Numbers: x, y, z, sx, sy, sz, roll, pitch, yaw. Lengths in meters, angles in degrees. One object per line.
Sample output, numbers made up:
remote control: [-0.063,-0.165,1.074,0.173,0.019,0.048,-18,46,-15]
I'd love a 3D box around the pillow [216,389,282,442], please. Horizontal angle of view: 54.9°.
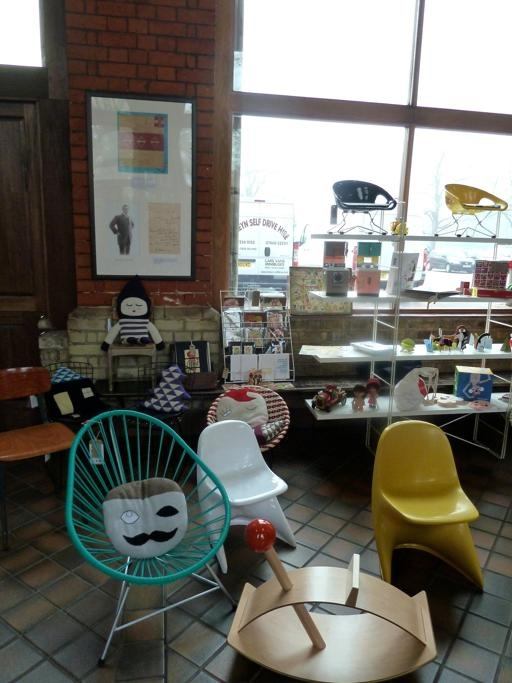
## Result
pillow: [-0.035,0.479,3.049,0.305,0.344,0.136,-12,-24,-11]

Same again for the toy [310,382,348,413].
toy: [0.505,0.384,3.397,0.137,0.118,0.228,11,20,38]

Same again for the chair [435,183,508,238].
chair: [1.570,-0.939,3.604,0.402,0.381,1.006,7,18,19]

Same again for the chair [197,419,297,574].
chair: [-0.124,0.782,2.542,0.379,0.511,0.396,-15,-7,-46]

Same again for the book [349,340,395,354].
book: [0.816,0.050,3.452,0.209,0.034,0.294,-9,19,-29]

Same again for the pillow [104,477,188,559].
pillow: [-0.434,0.688,1.938,0.313,0.176,0.294,-3,17,-13]

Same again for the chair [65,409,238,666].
chair: [-0.431,0.726,1.968,0.602,0.729,0.594,-4,18,-23]

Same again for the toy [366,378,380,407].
toy: [0.792,0.356,3.381,0.080,0.176,0.091,11,20,31]

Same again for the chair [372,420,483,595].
chair: [0.786,0.740,2.269,0.465,0.582,0.524,1,2,17]

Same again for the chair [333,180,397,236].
chair: [0.716,-0.917,3.409,0.394,0.356,0.858,3,17,8]

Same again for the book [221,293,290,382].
book: [0.007,-0.032,3.797,0.544,0.638,0.455,0,17,-4]
